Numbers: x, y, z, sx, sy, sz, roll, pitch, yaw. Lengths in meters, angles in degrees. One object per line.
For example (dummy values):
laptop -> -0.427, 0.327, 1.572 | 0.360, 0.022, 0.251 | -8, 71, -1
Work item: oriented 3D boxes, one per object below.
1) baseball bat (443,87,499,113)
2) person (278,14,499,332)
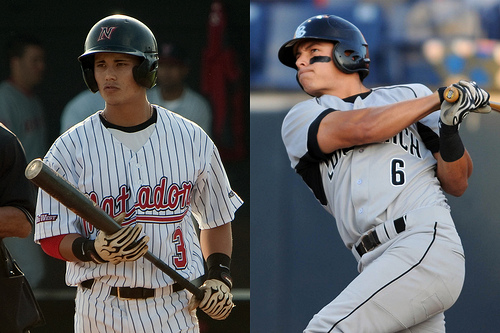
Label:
baseball bat -> 1.461, -0.435, 5.656 | 0.424, 0.170, 0.105 | -3, 9, -16
person -> 0.911, 0.034, 5.755 | 1.325, 2.060, 0.887 | 0, 9, 1
